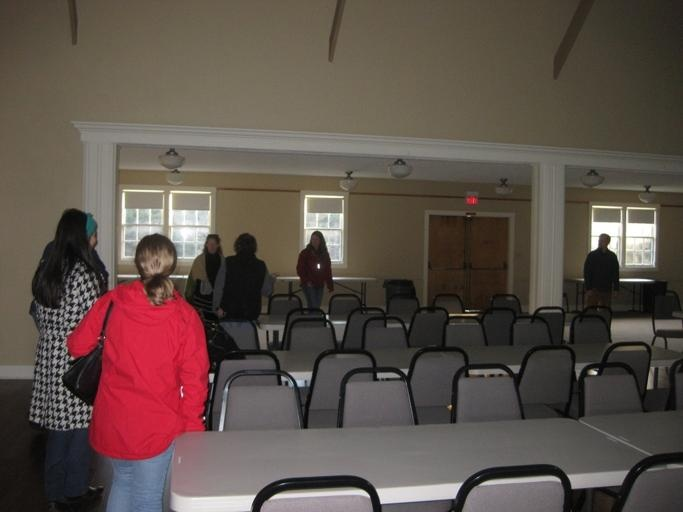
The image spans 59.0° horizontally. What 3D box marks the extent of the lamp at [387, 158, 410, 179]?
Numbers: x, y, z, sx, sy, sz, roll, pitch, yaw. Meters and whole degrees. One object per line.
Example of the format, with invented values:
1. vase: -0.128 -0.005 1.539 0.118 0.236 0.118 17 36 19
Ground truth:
1. lamp: 0.776 -1.181 8.002 0.292 0.375 0.314 0 -3 -2

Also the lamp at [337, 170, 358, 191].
1. lamp: 0.089 -1.423 11.180 0.309 0.139 0.411 1 -7 -5

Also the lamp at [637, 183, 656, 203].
1. lamp: 6.288 -1.317 12.400 0.355 0.455 0.380 0 -1 -1

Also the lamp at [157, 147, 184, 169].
1. lamp: -2.186 -1.277 7.722 0.270 0.263 0.449 2 0 -22

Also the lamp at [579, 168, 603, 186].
1. lamp: 3.677 -1.131 8.880 0.326 0.314 0.347 -3 -8 33

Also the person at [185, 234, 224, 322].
1. person: -1.746 0.341 7.813 0.619 1.542 0.372 -5 42 -23

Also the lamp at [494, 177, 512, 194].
1. lamp: 3.197 -1.406 11.914 0.304 0.328 0.174 0 2 -8
